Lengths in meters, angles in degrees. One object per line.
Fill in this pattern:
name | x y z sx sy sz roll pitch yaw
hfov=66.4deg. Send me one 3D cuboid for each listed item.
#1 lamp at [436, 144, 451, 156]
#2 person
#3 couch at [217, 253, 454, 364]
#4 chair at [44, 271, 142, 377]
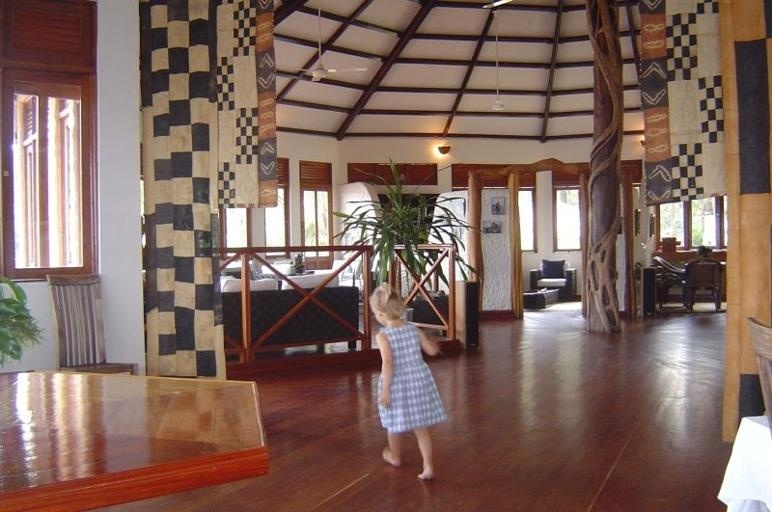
lamp | 1.324 -2.466 13.641 0.272 0.199 0.045 -2 19 -3
person | 0.146 0.766 3.785 0.464 1.207 0.380 0 5 0
couch | -0.949 0.642 6.584 1.374 0.791 1.359 -2 3 -34
chair | -2.302 0.595 4.683 0.578 0.896 0.529 0 0 39
